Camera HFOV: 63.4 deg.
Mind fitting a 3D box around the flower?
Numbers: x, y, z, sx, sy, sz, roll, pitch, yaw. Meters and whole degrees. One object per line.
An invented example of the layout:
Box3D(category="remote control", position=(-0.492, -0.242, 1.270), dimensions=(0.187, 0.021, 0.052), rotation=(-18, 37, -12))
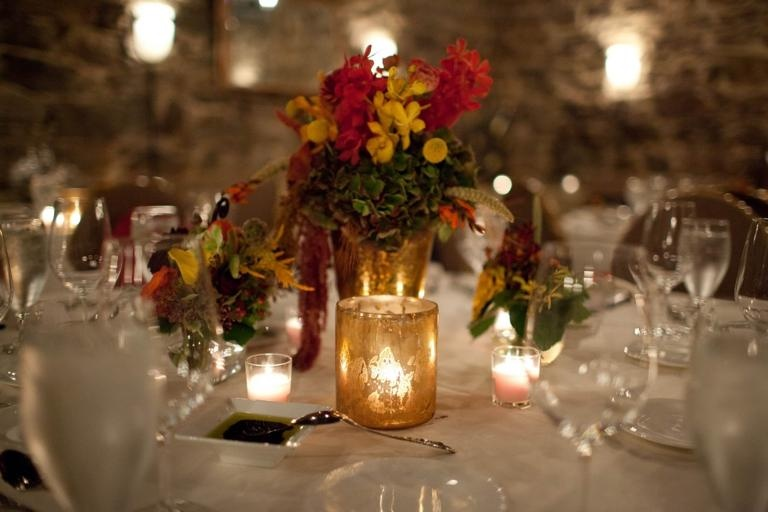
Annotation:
Box3D(category="flower", position=(-0.047, -0.088, 1.098), dimensions=(0.647, 0.460, 0.527), rotation=(-1, 7, -33))

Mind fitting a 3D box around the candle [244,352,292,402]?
Box3D(category="candle", position=(-0.189, 0.198, 1.019), dimensions=(0.072, 0.082, 0.073), rotation=(1, 0, -5))

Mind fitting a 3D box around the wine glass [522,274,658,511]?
Box3D(category="wine glass", position=(0.275, 0.171, 0.813), dimensions=(0.143, 0.278, 0.155), rotation=(6, 15, 24))
